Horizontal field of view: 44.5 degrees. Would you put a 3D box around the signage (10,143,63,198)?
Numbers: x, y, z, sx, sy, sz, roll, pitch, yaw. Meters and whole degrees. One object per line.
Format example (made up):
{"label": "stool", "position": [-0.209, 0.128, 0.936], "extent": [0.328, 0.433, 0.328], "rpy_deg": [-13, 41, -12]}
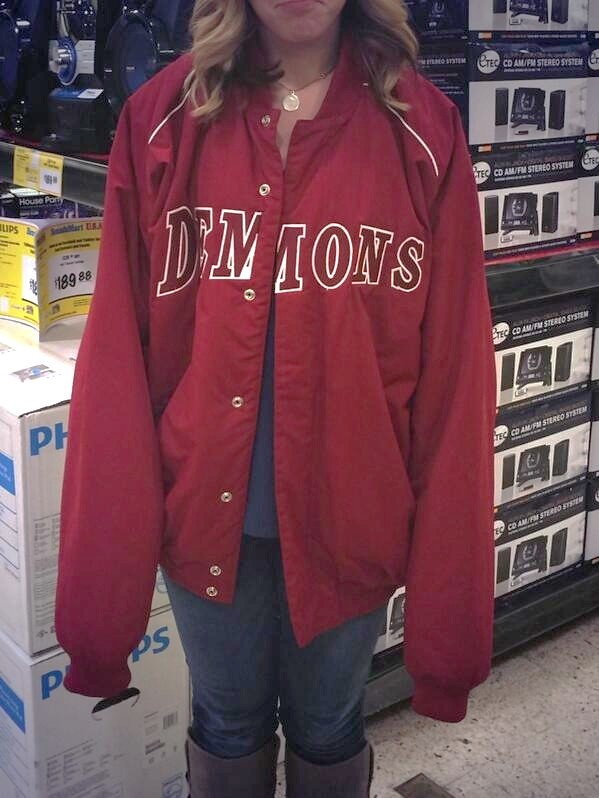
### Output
{"label": "signage", "position": [-0.485, -0.427, 1.373], "extent": [0.158, 0.065, 0.019], "rpy_deg": [16, 21, 17]}

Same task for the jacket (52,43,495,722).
{"label": "jacket", "position": [-0.033, 0.003, 0.863], "extent": [0.518, 0.796, 0.208], "rpy_deg": [3, 13, 15]}

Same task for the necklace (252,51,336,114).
{"label": "necklace", "position": [0.000, -0.355, 0.823], "extent": [0.082, 0.081, 0.056], "rpy_deg": [0, 13, 2]}
